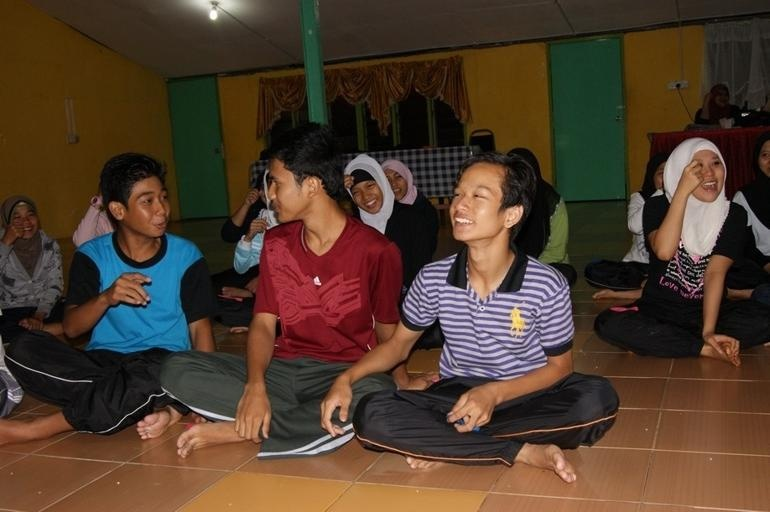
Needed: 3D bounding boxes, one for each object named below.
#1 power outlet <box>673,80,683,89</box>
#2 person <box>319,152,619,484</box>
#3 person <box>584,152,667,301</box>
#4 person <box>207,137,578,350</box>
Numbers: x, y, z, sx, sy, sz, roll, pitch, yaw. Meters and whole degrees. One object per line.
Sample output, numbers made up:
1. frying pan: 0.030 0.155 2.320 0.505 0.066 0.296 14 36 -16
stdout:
1. power outlet: 4.896 -2.858 9.237 0.215 0.138 0.051 3 4 25
2. person: 0.422 0.346 2.628 1.494 1.509 1.163 1 6 12
3. person: 2.003 -0.272 4.475 0.731 1.099 0.650 13 8 8
4. person: -0.133 -0.017 3.329 1.474 0.591 1.845 2 15 8
